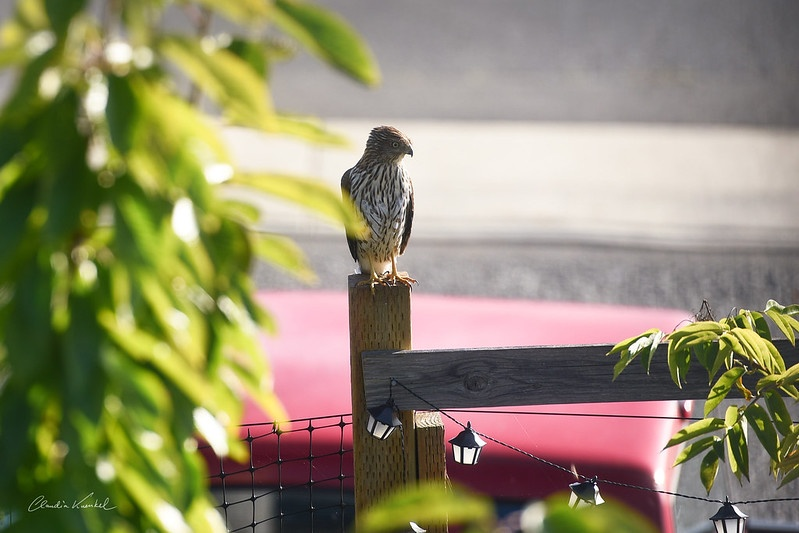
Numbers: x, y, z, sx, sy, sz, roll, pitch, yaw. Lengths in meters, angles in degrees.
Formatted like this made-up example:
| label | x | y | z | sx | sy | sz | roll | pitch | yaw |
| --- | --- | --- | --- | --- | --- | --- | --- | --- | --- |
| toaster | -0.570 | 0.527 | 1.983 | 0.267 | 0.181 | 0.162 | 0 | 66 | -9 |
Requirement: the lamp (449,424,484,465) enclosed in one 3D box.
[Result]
| label | x | y | z | sx | sy | sz | roll | pitch | yaw |
| --- | --- | --- | --- | --- | --- | --- | --- | --- | --- |
| lamp | 0.432 | 1.112 | 10.402 | 0.262 | 0.272 | 0.250 | 3 | 12 | -7 |

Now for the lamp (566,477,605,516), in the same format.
| label | x | y | z | sx | sy | sz | roll | pitch | yaw |
| --- | --- | --- | --- | --- | --- | --- | --- | --- | --- |
| lamp | 1.188 | 1.440 | 10.317 | 0.212 | 0.210 | 0.585 | -3 | -13 | 6 |

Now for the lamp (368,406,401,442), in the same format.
| label | x | y | z | sx | sy | sz | roll | pitch | yaw |
| --- | --- | --- | --- | --- | --- | --- | --- | --- | --- |
| lamp | -0.105 | 0.967 | 10.148 | 0.199 | 0.201 | 0.197 | 29 | 8 | -3 |
